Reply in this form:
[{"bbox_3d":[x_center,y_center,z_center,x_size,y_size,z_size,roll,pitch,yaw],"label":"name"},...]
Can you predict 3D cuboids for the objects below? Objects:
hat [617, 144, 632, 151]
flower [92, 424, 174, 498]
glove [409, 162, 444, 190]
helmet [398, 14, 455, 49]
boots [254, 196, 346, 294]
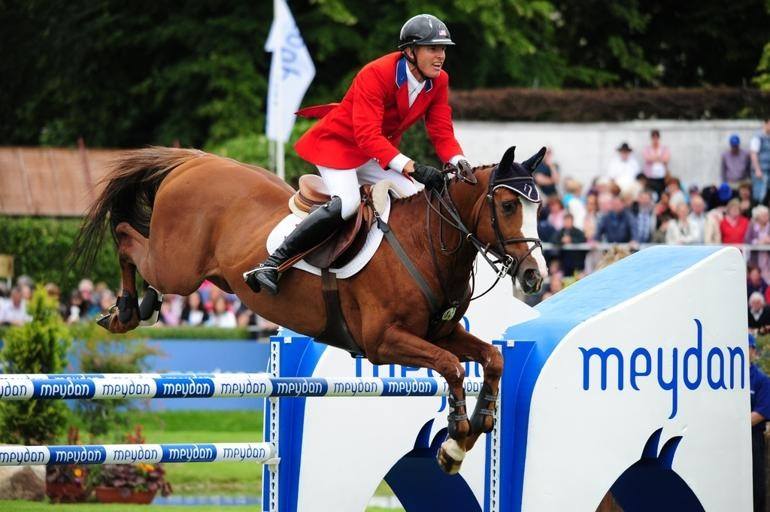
[{"bbox_3d":[3.412,-1.546,23.799,0.138,0.138,0.041,7,15,25],"label":"hat"},{"bbox_3d":[-3.312,2.627,21.436,0.964,0.743,0.973,5,-5,-24],"label":"flower"},{"bbox_3d":[0.430,-0.826,17.809,0.343,0.226,0.138,31,-31,2],"label":"glove"},{"bbox_3d":[0.395,-2.371,17.824,0.473,0.259,0.369,1,2,36],"label":"helmet"},{"bbox_3d":[-0.923,-0.146,17.923,1.363,0.554,0.437,-38,29,2],"label":"boots"}]
